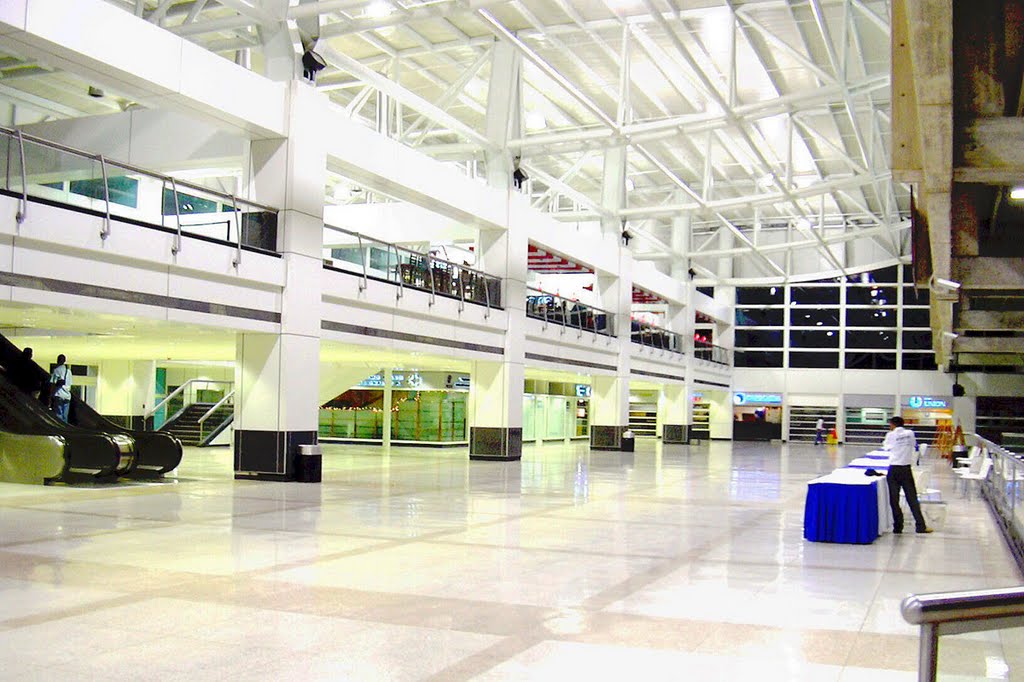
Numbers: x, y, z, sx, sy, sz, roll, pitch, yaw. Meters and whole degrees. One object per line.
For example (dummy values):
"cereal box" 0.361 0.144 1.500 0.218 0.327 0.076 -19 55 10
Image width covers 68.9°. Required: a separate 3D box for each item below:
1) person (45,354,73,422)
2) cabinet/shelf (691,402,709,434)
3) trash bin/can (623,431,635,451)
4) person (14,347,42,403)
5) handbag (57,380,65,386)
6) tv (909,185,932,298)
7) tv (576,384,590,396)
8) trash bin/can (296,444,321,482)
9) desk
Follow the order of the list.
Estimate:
"person" -10.027 1.005 16.539 0.471 1.560 2.331 5 -8 -31
"cabinet/shelf" 13.751 5.709 54.111 1.075 2.547 1.306 -1 -7 16
"trash bin/can" 5.268 4.521 33.948 0.455 0.903 1.027 -1 -7 16
"person" -10.778 0.754 16.723 0.363 1.257 0.415 -6 12 -6
"handbag" -9.963 0.934 16.472 0.103 0.101 0.187 4 5 -1
"tv" 8.034 -1.929 14.626 0.330 1.193 4.085 -3 -8 29
"tv" 4.037 2.762 42.457 0.852 0.721 0.138 5 16 25
"trash bin/can" -4.736 2.834 17.391 0.591 0.879 0.519 3 -7 -15
"desk" 5.454 2.601 12.059 0.987 1.113 2.306 -4 -9 34
